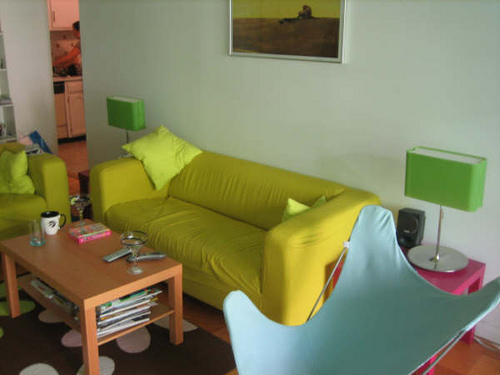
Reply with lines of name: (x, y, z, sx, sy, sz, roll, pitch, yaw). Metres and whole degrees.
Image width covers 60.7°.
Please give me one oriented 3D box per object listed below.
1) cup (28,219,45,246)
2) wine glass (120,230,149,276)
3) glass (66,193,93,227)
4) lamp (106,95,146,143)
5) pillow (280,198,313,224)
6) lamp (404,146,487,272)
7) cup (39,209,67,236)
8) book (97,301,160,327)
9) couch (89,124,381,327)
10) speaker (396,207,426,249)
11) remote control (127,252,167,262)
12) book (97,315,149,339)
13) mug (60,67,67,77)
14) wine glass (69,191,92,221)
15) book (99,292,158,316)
cup: (-1.549, 0.336, 3.107, 0.132, 0.194, 0.121, 2, 5, 0)
wine glass: (-0.755, 0.433, 2.800, 0.181, 0.225, 0.173, -4, 4, -43)
glass: (-1.670, 0.225, 4.211, 0.200, 0.260, 0.210, 3, 6, 37)
lamp: (-1.362, -0.656, 4.690, 0.402, 0.606, 0.186, 15, 25, 27)
pillow: (0.327, 0.168, 3.047, 0.225, 0.154, 0.214, 12, 20, 32)
lamp: (1.244, 0.142, 2.784, 0.343, 0.711, 0.452, -16, 21, -36)
cup: (-1.559, 0.272, 3.353, 0.207, 0.157, 0.133, 4, 13, -7)
book: (-0.787, 0.799, 2.725, 0.456, 0.050, 0.081, -12, 44, -39)
couch: (-0.290, 0.253, 3.711, 2.233, 1.127, 1.095, 17, 22, 38)
speaker: (1.182, 0.291, 3.121, 0.153, 0.277, 0.163, -9, 18, -42)
remote control: (-0.693, 0.461, 2.893, 0.155, 0.028, 0.091, -1, 10, -7)
book: (-0.803, 0.871, 2.706, 0.327, 0.036, 0.036, -10, 20, -32)
mug: (-3.168, -1.945, 7.225, 0.135, 0.094, 0.077, 28, 36, 21)
wine glass: (-1.698, 0.221, 4.281, 0.193, 0.288, 0.347, -12, 21, -36)
book: (-0.787, 0.729, 2.703, 0.177, 0.046, 0.189, 10, 15, 43)
